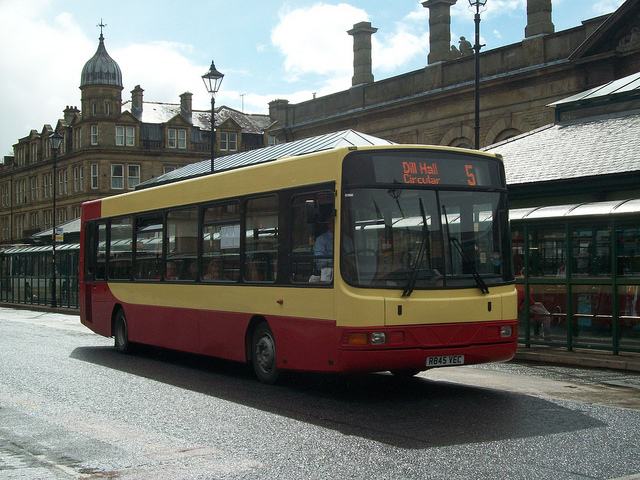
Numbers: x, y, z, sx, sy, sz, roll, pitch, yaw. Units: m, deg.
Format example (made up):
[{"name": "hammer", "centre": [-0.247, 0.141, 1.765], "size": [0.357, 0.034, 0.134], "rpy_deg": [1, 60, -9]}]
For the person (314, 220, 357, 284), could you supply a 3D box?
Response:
[{"name": "person", "centre": [0.197, 0.171, 9.984], "size": [0.188, 0.884, 0.821], "rpy_deg": [1, -6, -36]}]

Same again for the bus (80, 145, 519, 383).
[{"name": "bus", "centre": [-1.511, 0.546, 13.121], "size": [10.041, 3.881, 2.594], "rpy_deg": [-7, -7, 43]}]

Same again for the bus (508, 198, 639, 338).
[{"name": "bus", "centre": [5.425, 0.709, 16.180], "size": [1.795, 2.872, 5.209], "rpy_deg": [0, -3, -17]}]

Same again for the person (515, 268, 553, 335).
[{"name": "person", "centre": [4.642, 1.388, 15.419], "size": [0.663, 1.375, 0.535], "rpy_deg": [-1, 28, 44]}]
